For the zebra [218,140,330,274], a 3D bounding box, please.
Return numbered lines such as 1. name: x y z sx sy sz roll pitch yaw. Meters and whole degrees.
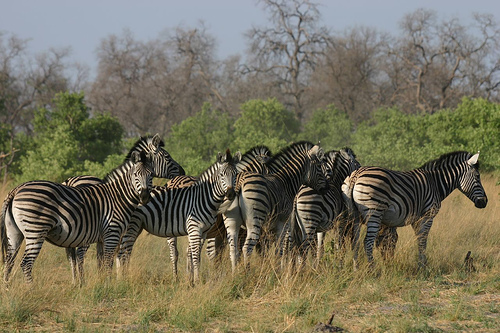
1. zebra: 0.814 1.264 26.182 1.323 3.468 4.293 -2 5 45
